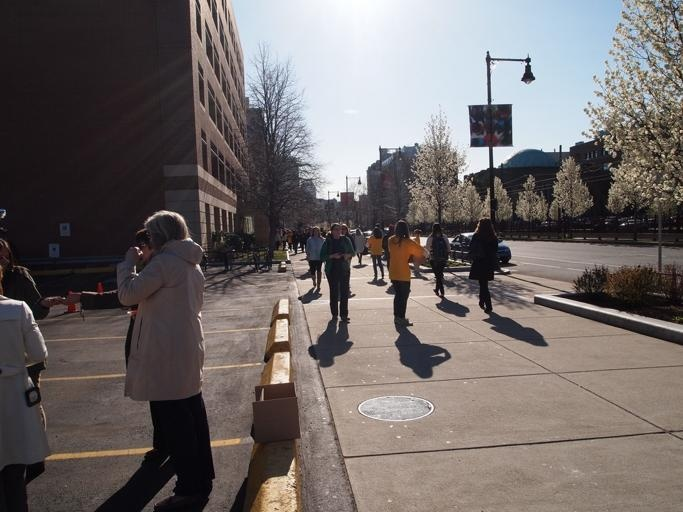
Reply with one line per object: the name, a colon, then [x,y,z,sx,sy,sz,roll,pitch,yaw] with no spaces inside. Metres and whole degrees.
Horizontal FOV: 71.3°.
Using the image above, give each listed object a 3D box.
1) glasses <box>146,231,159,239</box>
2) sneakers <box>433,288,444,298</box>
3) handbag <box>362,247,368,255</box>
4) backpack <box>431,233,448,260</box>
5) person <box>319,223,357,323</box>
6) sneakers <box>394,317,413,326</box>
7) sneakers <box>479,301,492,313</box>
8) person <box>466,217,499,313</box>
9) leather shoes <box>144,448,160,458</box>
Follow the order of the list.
glasses: [-1.748,-0.205,4.410,0.088,0.084,0.095,-2,8,-24]
sneakers: [2.836,1.083,13.924,0.138,0.298,0.254,-6,-2,-16]
handbag: [1.339,-0.315,27.811,0.332,0.402,0.641,2,11,14]
backpack: [2.906,-0.254,14.274,0.523,0.993,0.476,1,-15,-3]
person: [-0.107,0.335,11.075,0.745,2.166,1.312,-2,3,3]
sneakers: [1.304,1.357,10.039,0.367,0.200,0.155,1,3,37]
sneakers: [3.386,1.218,11.207,0.121,0.314,0.406,-6,-9,-11]
person: [3.373,0.190,11.393,0.634,2.193,0.890,-1,3,18]
leather shoes: [-1.932,2.005,4.905,0.119,0.055,0.126,4,21,22]
